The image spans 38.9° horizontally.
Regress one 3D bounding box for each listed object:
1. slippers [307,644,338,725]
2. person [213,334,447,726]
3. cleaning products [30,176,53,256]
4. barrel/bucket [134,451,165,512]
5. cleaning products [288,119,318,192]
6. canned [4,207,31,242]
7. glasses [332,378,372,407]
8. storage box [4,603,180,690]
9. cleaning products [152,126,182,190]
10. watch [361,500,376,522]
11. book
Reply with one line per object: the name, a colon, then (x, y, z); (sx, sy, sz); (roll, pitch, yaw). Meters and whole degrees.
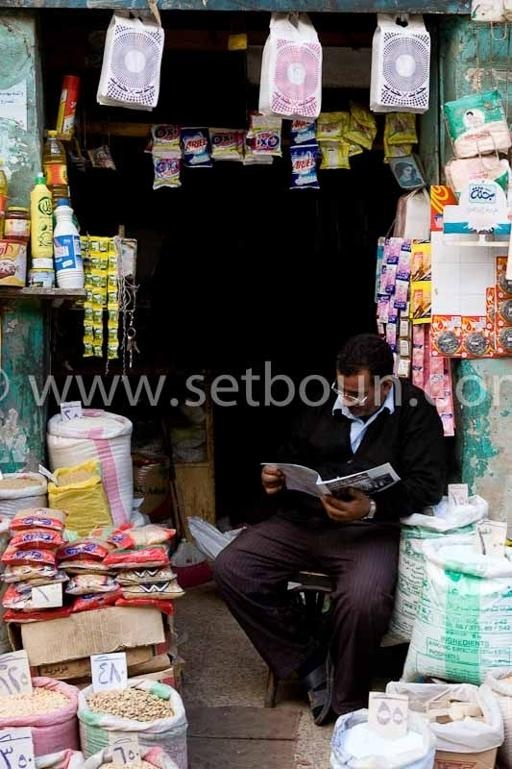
slippers: (0.256, 1.195, 2.800); (0.081, 0.214, 0.073); (1, -31, -11)
person: (0.296, 0.501, 3.080); (0.789, 1.597, 0.859); (3, 6, 28)
cleaning products: (-0.864, -0.661, 2.932); (0.087, 0.297, 0.046); (-2, 3, -18)
barrel/bucket: (-0.675, 0.627, 4.482); (0.254, 0.275, 0.320); (1, -4, -3)
cleaning products: (0.237, -1.151, 3.667); (0.160, 0.340, 0.130); (-1, 12, -7)
canned: (-0.950, -0.639, 2.885); (0.089, 0.132, 0.056); (-3, 3, -33)
glasses: (0.365, 0.031, 2.914); (0.097, 0.119, 0.260); (-2, 2, -16)
storage box: (-0.535, 0.907, 2.479); (0.600, 0.373, 0.253); (-2, 2, -21)
cleaning products: (-0.455, -1.160, 3.712); (0.155, 0.298, 0.154); (-1, 2, -8)
watch: (0.441, 0.483, 2.791); (0.028, 0.071, 0.084); (0, 2, 30)
book: (0.294, 0.356, 2.687); (0.448, 0.175, 0.361); (-1, 2, 12)
